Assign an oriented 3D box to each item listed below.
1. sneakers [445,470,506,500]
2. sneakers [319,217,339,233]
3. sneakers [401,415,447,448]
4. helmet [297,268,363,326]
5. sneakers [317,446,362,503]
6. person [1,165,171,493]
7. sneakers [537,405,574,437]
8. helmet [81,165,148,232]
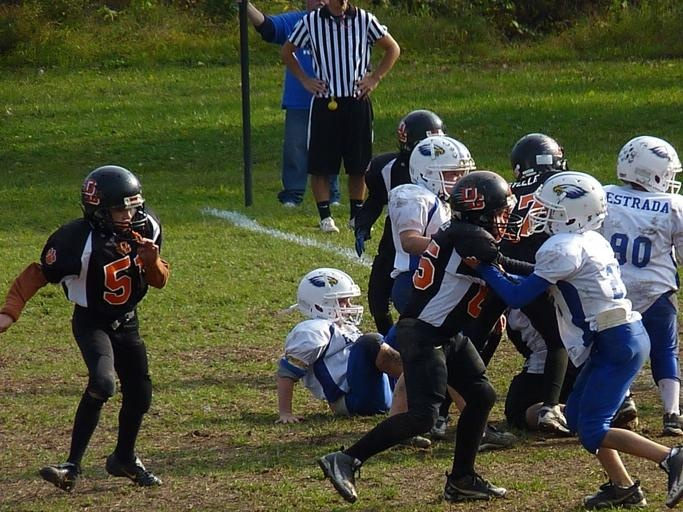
[{"bbox_3d":[0.899,1.565,7.960,0.431,0.177,0.170,-1,5,-6],"label":"sneakers"},{"bbox_3d":[-0.131,-0.335,12.550,0.108,0.115,0.267,-4,5,-21],"label":"sneakers"},{"bbox_3d":[0.675,1.309,8.601,0.167,0.194,0.476,12,-25,-31],"label":"sneakers"},{"bbox_3d":[-0.077,0.311,9.230,0.525,0.374,0.387,2,3,10],"label":"helmet"},{"bbox_3d":[-0.019,1.477,7.785,0.281,0.339,0.185,6,11,13],"label":"sneakers"},{"bbox_3d":[-1.743,0.503,8.169,1.019,2.203,0.733,2,11,-10],"label":"person"},{"bbox_3d":[1.643,1.226,8.630,0.366,0.165,0.136,10,-4,-31],"label":"sneakers"},{"bbox_3d":[-1.594,-0.419,8.286,0.518,0.398,0.389,11,16,23],"label":"helmet"}]
